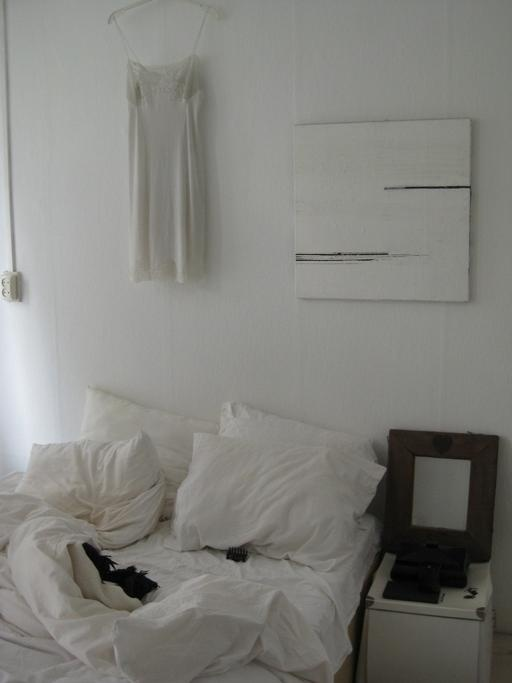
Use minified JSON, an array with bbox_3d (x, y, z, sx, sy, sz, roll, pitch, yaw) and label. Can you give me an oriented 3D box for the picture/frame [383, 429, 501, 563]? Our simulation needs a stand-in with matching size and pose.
[{"bbox_3d":[0.633,0.532,2.161,0.348,0.507,0.033,2,-5,17],"label":"picture/frame"}]
